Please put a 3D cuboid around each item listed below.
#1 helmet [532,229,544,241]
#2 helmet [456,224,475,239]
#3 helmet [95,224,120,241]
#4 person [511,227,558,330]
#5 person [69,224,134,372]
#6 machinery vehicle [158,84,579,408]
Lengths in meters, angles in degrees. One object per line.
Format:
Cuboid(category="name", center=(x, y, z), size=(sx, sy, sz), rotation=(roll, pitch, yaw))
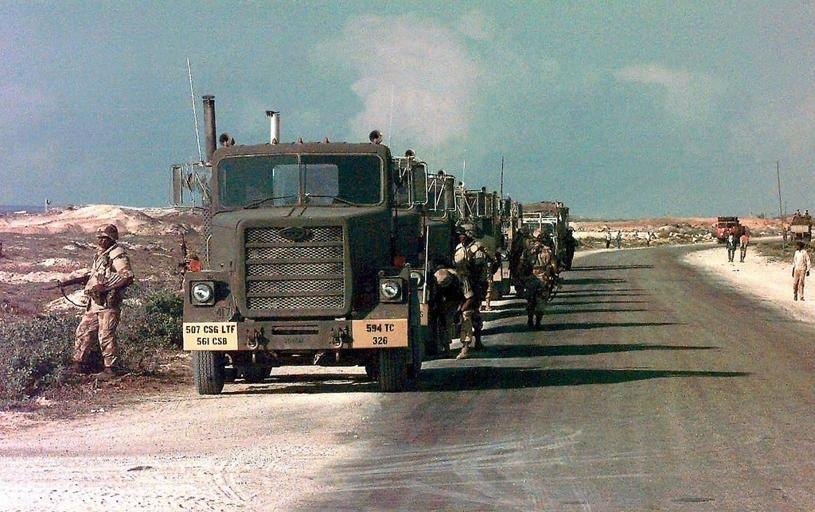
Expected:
Cuboid(category="helmet", center=(3.450, -0.523, 25.008), size=(0.264, 0.412, 0.131), rotation=(2, 13, 12))
Cuboid(category="helmet", center=(1.339, -0.574, 21.378), size=(0.345, 0.304, 0.266), rotation=(-12, 18, -28))
Cuboid(category="helmet", center=(-5.648, -0.420, 17.862), size=(0.396, 0.337, 0.314), rotation=(-4, 10, -9))
Cuboid(category="person", center=(3.371, 0.568, 24.864), size=(0.898, 2.540, 0.942), rotation=(-1, 18, 0))
Cuboid(category="person", center=(-5.667, 0.833, 17.666), size=(1.075, 2.754, 0.561), rotation=(-3, 6, -20))
Cuboid(category="machinery vehicle", center=(-1.174, 0.205, 19.822), size=(3.778, 4.693, 8.103), rotation=(-1, -4, 8))
